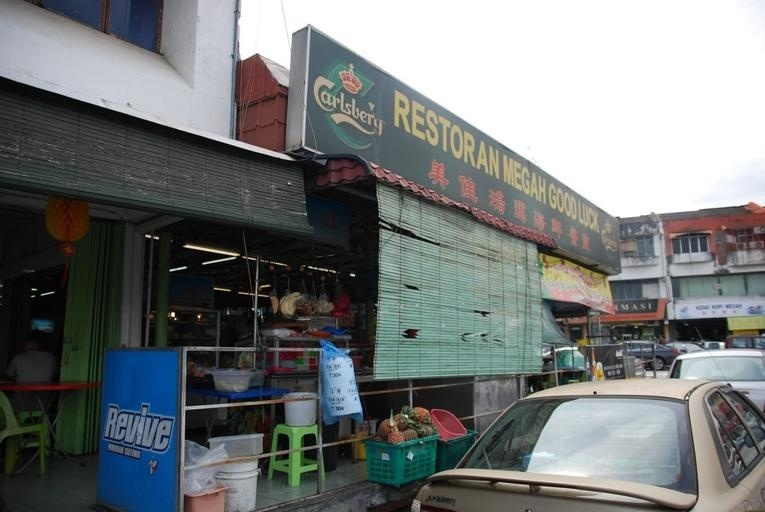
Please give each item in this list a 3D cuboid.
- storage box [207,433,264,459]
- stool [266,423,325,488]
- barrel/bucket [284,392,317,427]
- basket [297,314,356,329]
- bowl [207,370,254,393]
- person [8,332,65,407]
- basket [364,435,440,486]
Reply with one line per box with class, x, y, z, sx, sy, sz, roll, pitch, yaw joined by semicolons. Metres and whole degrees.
storage box;-1.695;2.238;6.449;0.461;0.184;0.321;0;-15;-10
stool;-1.119;2.602;7.250;0.594;0.954;0.541;-9;-13;44
barrel/bucket;-1.032;1.993;7.050;0.464;0.381;0.490;1;-11;0
basket;-0.955;1.113;9.236;0.441;0.276;1.191;-9;-13;25
bowl;-1.834;1.510;6.644;0.495;0.295;0.239;0;-12;-17
person;-5.234;1.753;8.287;0.979;1.144;0.660;-3;-8;44
basket;0.224;2.607;7.386;0.834;0.692;0.777;-8;-12;39
